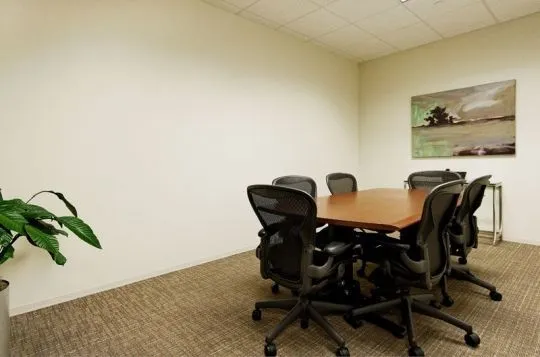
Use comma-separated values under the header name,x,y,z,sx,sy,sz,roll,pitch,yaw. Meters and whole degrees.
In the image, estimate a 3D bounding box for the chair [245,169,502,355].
name,x,y,z,sx,sy,sz,roll,pitch,yaw
chair,0.756,0.714,3.162,1.996,1.197,1.365,-4,-3,41
